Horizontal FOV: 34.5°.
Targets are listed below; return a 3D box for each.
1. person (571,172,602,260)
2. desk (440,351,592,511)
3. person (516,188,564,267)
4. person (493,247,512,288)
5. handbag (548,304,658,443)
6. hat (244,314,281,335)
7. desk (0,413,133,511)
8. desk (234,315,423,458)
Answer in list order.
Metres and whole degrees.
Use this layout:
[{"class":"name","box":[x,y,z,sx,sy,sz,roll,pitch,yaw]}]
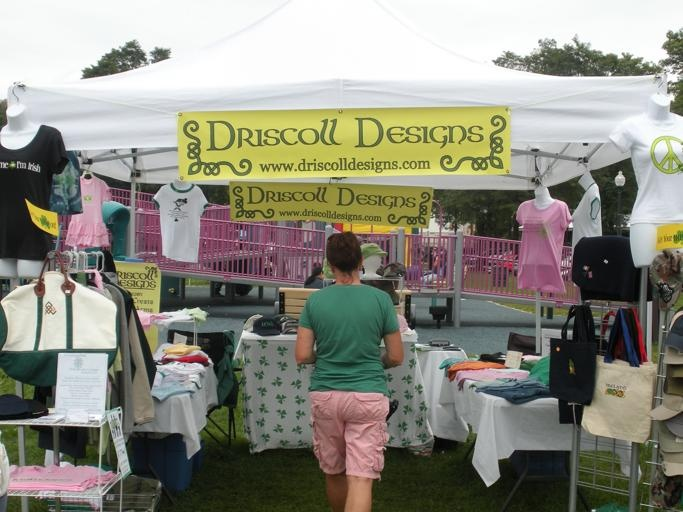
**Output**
[{"class":"person","box":[2.605,-0.505,11.631,0.279,0.722,0.507,-1,-2,11]},{"class":"desk","box":[1.627,1.516,9.878,1.073,0.659,1.360,1,0,-9]},{"class":"person","box":[2.329,-0.305,12.602,0.628,0.958,0.403,-1,-2,18]},{"class":"person","box":[2.755,0.214,18.690,0.372,0.641,0.722,-1,-2,8]},{"class":"handbag","box":[2.153,0.963,9.048,0.842,1.055,0.317,-1,-2,10]},{"class":"hat","box":[-0.746,0.679,10.755,0.267,0.187,0.545,0,-2,-11]},{"class":"desk","box":[-2.231,1.671,8.909,0.991,0.880,0.691,0,-2,-11]},{"class":"desk","box":[-0.390,1.382,11.323,1.500,0.929,1.507,0,-4,0]}]
